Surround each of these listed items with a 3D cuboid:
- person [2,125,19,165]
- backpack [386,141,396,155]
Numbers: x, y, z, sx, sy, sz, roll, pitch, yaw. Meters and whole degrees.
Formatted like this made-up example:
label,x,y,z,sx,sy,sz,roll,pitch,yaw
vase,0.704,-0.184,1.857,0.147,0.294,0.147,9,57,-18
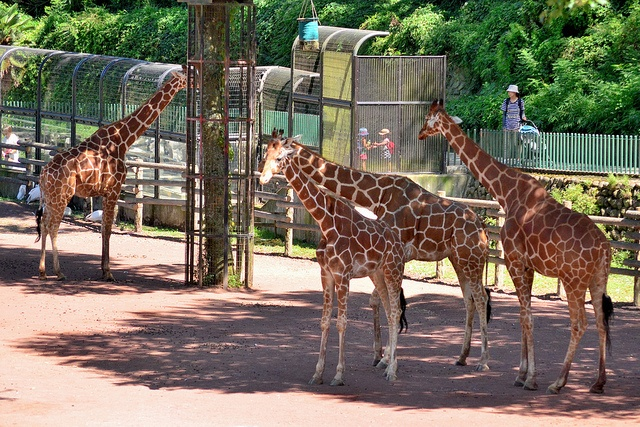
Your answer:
label,x,y,z,sx,sy,sz,roll,pitch,yaw
person,-9.653,-2.149,37.341,0.452,1.074,1.917,1,4,-16
backpack,1.899,-1.739,32.141,0.216,0.296,0.121,-1,17,-10
